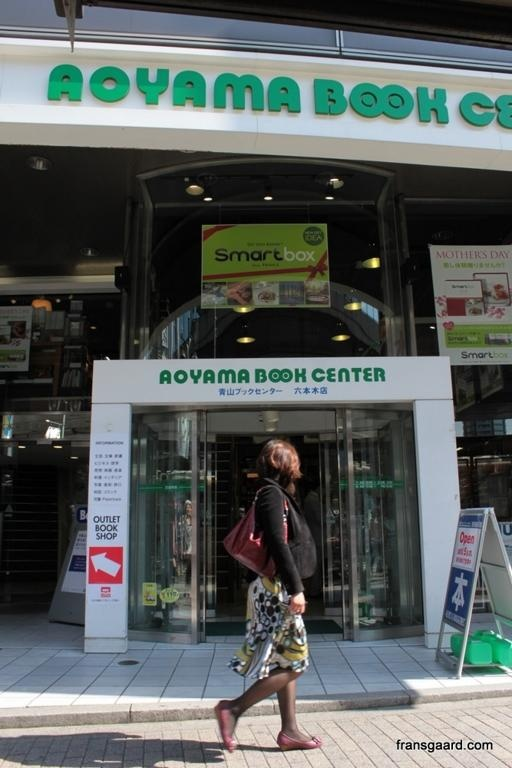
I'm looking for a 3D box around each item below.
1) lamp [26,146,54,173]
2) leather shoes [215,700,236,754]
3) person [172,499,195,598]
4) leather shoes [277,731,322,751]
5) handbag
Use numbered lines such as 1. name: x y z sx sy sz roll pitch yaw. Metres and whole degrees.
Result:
1. lamp: -2.703 -2.739 7.372 0.289 0.130 0.586 1 -7 -20
2. leather shoes: -0.130 1.480 2.561 0.087 0.204 0.106 -1 -8 -4
3. person: -0.710 1.581 5.833 0.281 0.872 0.100 -9 -11 44
4. leather shoes: 0.193 1.629 2.752 0.219 0.098 0.082 0 -11 -10
5. handbag: -0.014 0.685 2.726 0.214 0.410 0.176 31 -44 -15
